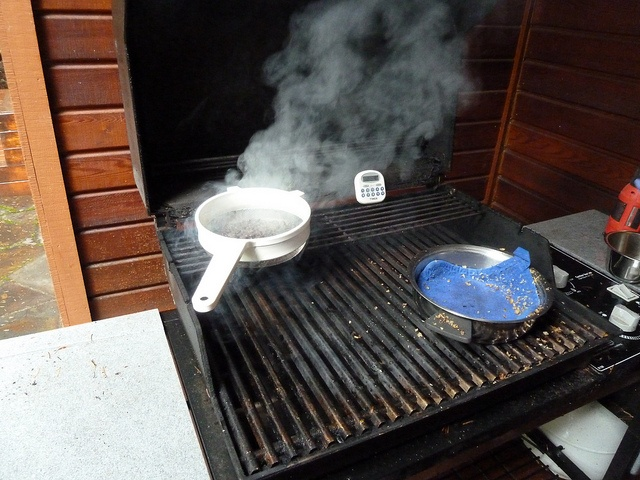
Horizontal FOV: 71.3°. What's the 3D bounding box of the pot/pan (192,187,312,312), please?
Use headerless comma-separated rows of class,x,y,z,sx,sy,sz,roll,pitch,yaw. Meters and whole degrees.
pot/pan,-0.251,-0.014,1.356,0.317,0.224,0.516,12,24,40

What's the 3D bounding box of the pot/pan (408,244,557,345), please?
pot/pan,0.459,0.186,1.357,0.409,0.102,0.481,13,31,16
